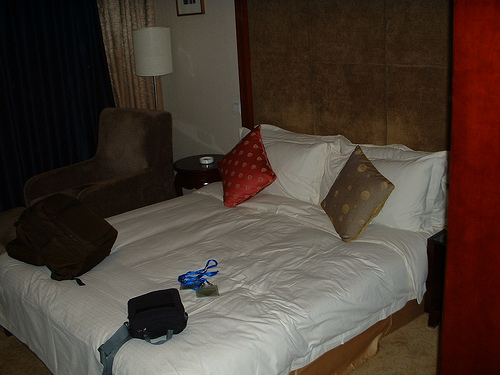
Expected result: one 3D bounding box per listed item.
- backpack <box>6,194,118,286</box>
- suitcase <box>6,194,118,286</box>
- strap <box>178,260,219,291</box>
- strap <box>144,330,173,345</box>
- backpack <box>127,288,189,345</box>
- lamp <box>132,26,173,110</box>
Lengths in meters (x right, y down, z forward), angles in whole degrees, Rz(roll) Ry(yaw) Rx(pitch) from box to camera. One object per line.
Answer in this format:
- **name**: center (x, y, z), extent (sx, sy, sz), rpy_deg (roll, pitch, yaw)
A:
- **backpack**: center (-1.139, 0.277, 2.283), extent (0.564, 0.370, 0.444), rpy_deg (21, 36, 21)
- **suitcase**: center (-1.146, 0.338, 2.314), extent (0.563, 0.355, 0.445), rpy_deg (23, 37, 20)
- **strap**: center (-0.273, 0.473, 2.063), extent (0.104, 0.041, 0.178), rpy_deg (26, 28, 37)
- **strap**: center (-0.380, 0.645, 1.623), extent (0.061, 0.023, 0.085), rpy_deg (1, 16, 1)
- **backpack**: center (-0.416, 0.577, 1.703), extent (0.245, 0.119, 0.261), rpy_deg (-11, 23, -17)
- **lamp**: center (-1.003, -1.396, 3.872), extent (0.391, 0.460, 0.210), rpy_deg (-10, 22, -15)
